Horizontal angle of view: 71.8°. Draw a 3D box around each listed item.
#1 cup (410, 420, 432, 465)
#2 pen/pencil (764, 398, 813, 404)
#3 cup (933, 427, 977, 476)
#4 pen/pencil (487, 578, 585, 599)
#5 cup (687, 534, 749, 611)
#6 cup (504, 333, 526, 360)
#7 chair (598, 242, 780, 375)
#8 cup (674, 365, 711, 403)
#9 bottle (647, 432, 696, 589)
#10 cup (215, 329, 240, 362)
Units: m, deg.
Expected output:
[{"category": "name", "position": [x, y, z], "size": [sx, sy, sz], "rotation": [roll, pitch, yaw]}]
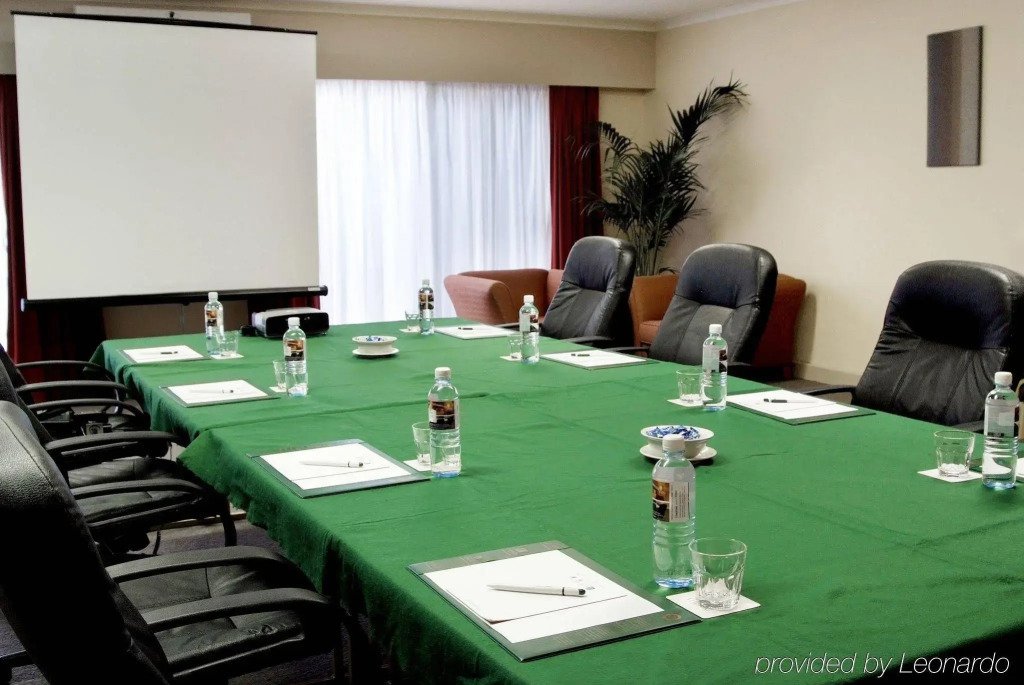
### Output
[{"category": "cup", "position": [-0.269, 0.303, 2.095], "size": [0.094, 0.103, 0.100], "rotation": [-1, 1, 0]}, {"category": "pen/pencil", "position": [1.014, 0.217, 2.616], "size": [0.173, 0.024, 0.028], "rotation": [0, -10, 5]}, {"category": "cup", "position": [1.203, 0.307, 1.972], "size": [0.114, 0.128, 0.119], "rotation": [1, -6, 0]}, {"category": "pen/pencil", "position": [0.047, 0.483, 1.382], "size": [0.172, 0.019, 0.019], "rotation": [1, 3, 5]}, {"category": "cup", "position": [0.376, 0.423, 1.335], "size": [0.112, 0.122, 0.120], "rotation": [-1, 0, 0]}, {"category": "cup", "position": [0.024, 0.014, 3.558], "size": [0.112, 0.127, 0.120], "rotation": [2, 0, 0]}, {"category": "chair", "position": [0.888, -0.046, 3.717], "size": [0.807, 0.943, 0.690], "rotation": [-4, 10, -43]}, {"category": "cup", "position": [0.671, 0.167, 2.653], "size": [0.103, 0.091, 0.113], "rotation": [-1, -4, 0]}, {"category": "bottle", "position": [0.325, 0.338, 1.426], "size": [0.081, 0.288, 0.184], "rotation": [2, 12, 13]}, {"category": "cup", "position": [-1.456, 0.010, 3.695], "size": [0.147, 0.141, 0.140], "rotation": [-1, -1, 0]}]
